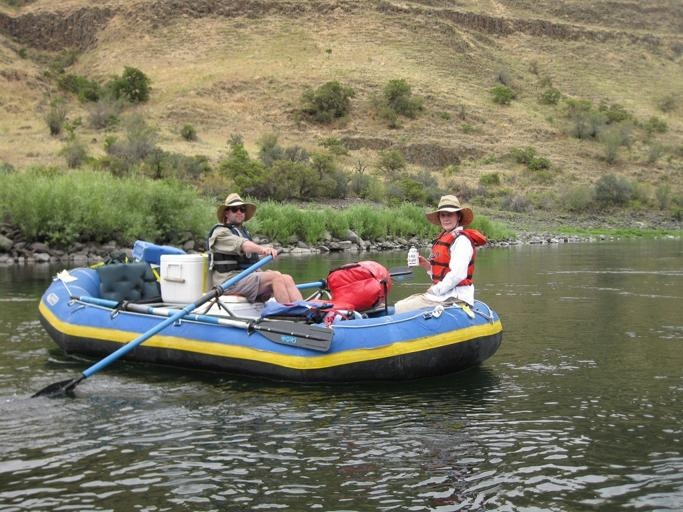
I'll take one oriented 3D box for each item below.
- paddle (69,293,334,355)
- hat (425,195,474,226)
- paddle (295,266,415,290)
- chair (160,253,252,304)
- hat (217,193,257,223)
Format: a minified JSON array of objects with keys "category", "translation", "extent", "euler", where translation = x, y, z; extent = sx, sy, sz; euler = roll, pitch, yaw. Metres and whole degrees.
[{"category":"paddle","translation":[-1.693,1.328,14.723],"extent":[0.348,0.535,4.732],"euler":[12,-5,-39]},{"category":"hat","translation":[1.421,-0.826,14.072],"extent":[0.593,0.311,0.632],"euler":[-4,-21,9]},{"category":"paddle","translation":[0.237,0.567,15.213],"extent":[1.754,0.137,0.571],"euler":[-7,6,-31]},{"category":"chair","translation":[-2.145,0.474,14.901],"extent":[1.089,0.648,1.056],"euler":[0,4,-23]},{"category":"hat","translation":[-1.514,-0.977,14.931],"extent":[0.557,0.267,0.610],"euler":[0,-25,-24]}]
